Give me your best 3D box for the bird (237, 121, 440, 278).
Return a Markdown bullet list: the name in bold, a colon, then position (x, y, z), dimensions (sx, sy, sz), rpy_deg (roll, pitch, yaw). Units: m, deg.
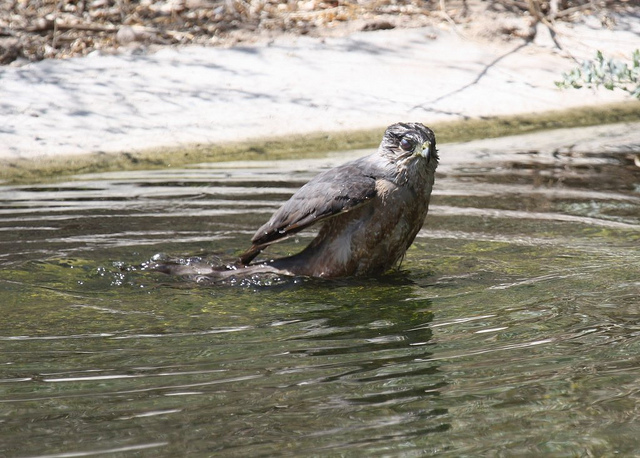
- **bird**: position (0.228, -0.196, 6.090), dimensions (1.142, 1.332, 0.434), rpy_deg (11, 27, 0)
